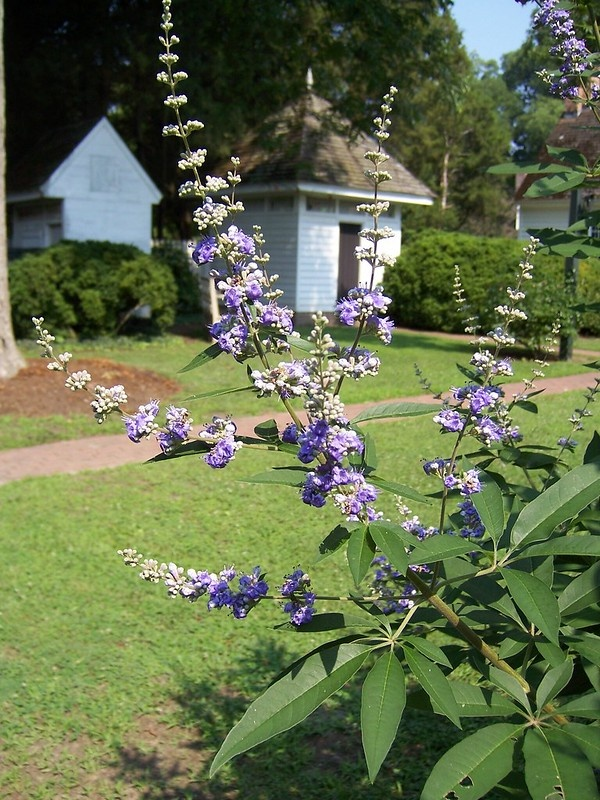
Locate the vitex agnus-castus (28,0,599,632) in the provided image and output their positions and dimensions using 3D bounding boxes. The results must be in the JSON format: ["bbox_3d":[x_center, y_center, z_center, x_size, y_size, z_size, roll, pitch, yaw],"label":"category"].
[{"bbox_3d":[0.093,-0.185,4.322,2.145,2.638,1.767,-2,9,-7],"label":"vitex agnus-castus"}]
